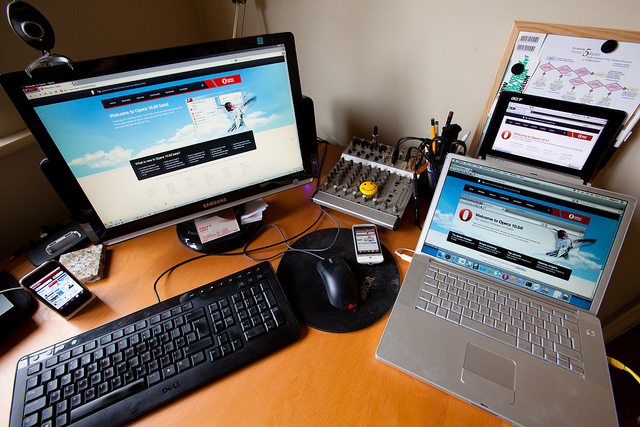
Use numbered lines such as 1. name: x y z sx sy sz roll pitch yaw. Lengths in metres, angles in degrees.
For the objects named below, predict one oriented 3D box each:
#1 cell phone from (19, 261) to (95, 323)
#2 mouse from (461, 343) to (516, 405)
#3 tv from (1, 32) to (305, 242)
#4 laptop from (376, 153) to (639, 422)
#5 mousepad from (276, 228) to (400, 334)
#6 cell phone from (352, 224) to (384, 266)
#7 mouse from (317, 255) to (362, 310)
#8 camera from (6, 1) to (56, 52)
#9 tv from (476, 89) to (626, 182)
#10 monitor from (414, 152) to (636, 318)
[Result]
1. cell phone: -0.742 0.213 1.241 0.018 0.193 0.113 23 55 38
2. mouse: 0.430 0.416 1.114 0.126 0.053 0.165 10 31 5
3. tv: -0.473 -0.209 1.257 0.689 0.460 0.163 -17 47 -15
4. laptop: 0.522 0.191 1.135 0.590 0.442 0.487 17 40 19
5. mousepad: 0.090 0.181 1.399 0.456 0.236 0.462 7 30 9
6. cell phone: 0.143 0.086 1.348 0.087 0.024 0.147 -2 46 -5
7. mouse: 0.055 0.195 1.281 0.091 0.051 0.154 -14 63 -12
8. camera: -0.759 -0.490 1.145 0.100 0.114 0.073 -4 38 -8
9. tv: 0.679 -0.227 1.254 0.264 0.164 0.011 22 28 15
10. monitor: 0.654 -0.081 1.507 0.764 0.402 0.503 12 37 17
